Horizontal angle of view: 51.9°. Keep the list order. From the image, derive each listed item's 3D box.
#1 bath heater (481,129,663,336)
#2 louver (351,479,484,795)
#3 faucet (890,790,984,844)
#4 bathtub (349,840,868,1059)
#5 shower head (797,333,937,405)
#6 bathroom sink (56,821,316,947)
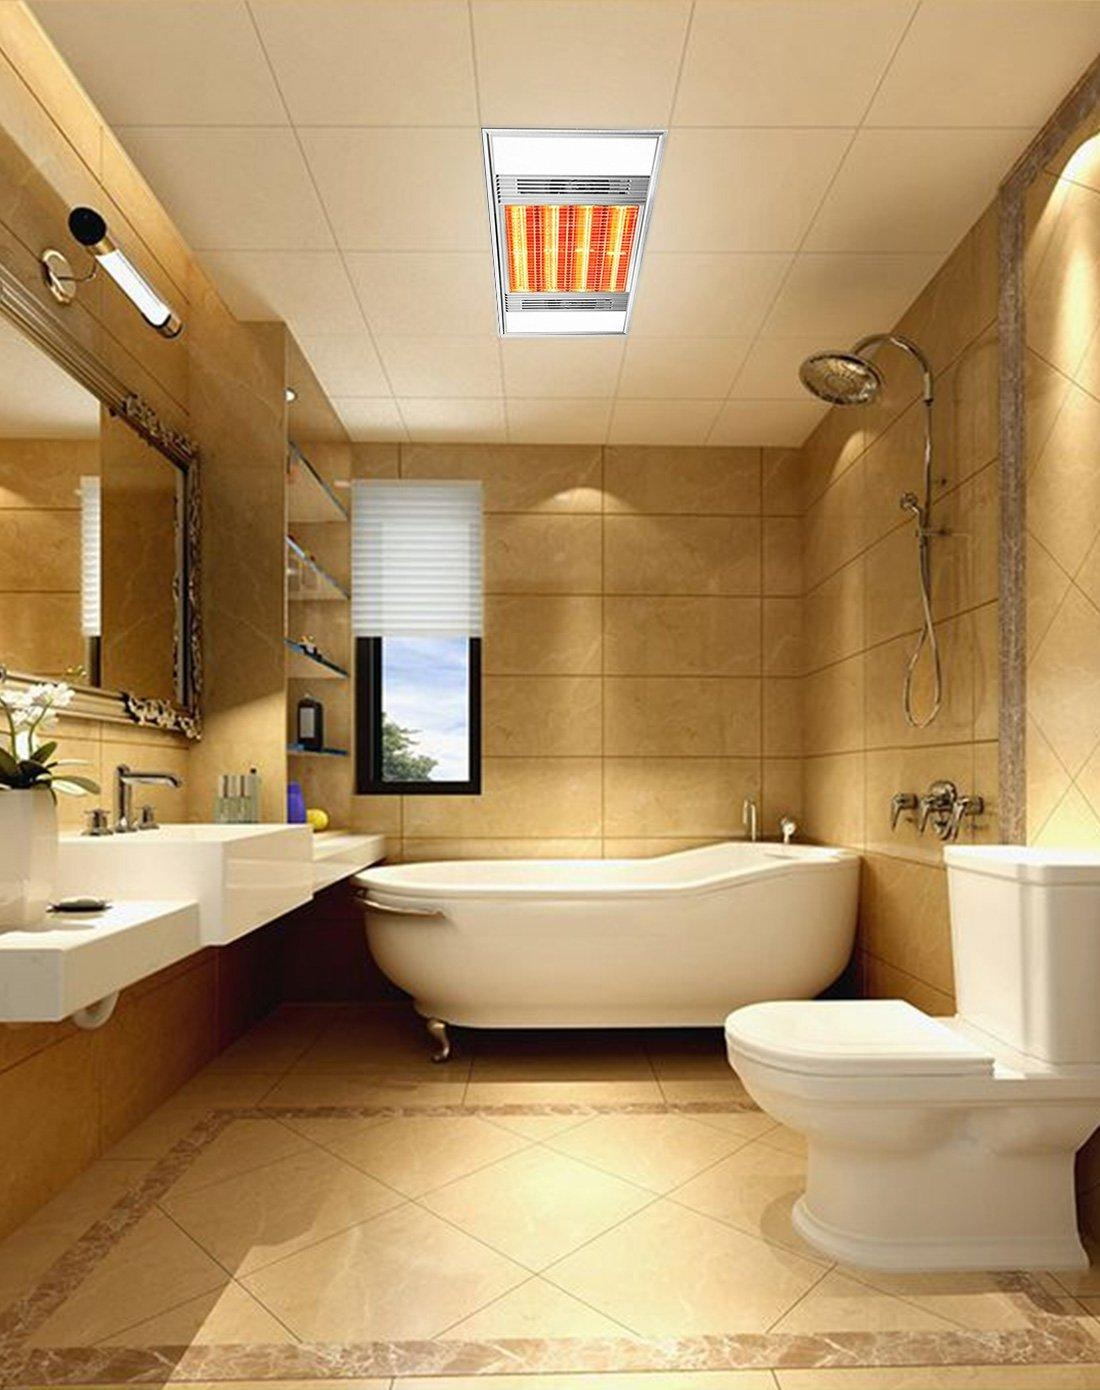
[{"bbox_3d":[0.045,-1.175,2.966,0.395,0.035,0.639,0,-26,-1],"label":"bath heater"},{"bbox_3d":[-0.537,-0.238,4.451,0.647,1.240,0.103,3,0,-2],"label":"louver"},{"bbox_3d":[1.039,0.327,3.005,0.069,0.120,0.209,3,-5,-15],"label":"faucet"},{"bbox_3d":[0.143,0.795,3.692,1.523,0.552,0.702,0,-3,-5],"label":"bathtub"},{"bbox_3d":[0.887,-0.914,3.106,0.231,0.207,0.423,10,0,44],"label":"shower head"},{"bbox_3d":[-0.784,0.389,2.422,0.365,0.221,0.648,0,0,3],"label":"bathroom sink"}]
